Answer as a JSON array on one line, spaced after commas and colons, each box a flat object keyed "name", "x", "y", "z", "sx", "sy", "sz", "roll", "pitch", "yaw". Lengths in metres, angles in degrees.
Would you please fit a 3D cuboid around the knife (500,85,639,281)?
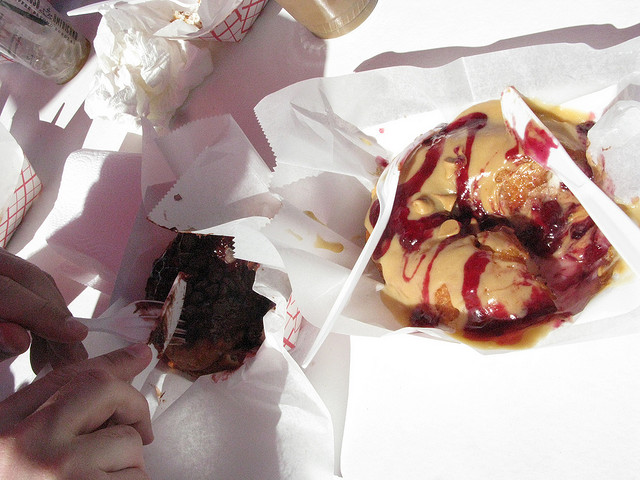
[{"name": "knife", "x": 0.301, "y": -0.059, "z": 0.619, "sx": 0.035, "sy": 0.036, "sz": 0.302, "roll": 14, "pitch": 40, "yaw": -35}]

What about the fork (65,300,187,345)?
[{"name": "fork", "x": -0.300, "y": 0.121, "z": 0.745, "sx": 0.229, "sy": 0.069, "sz": 0.030, "roll": 1, "pitch": -21, "yaw": -11}]

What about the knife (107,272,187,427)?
[{"name": "knife", "x": -0.237, "y": 0.162, "z": 0.716, "sx": 0.024, "sy": 0.224, "sz": 0.025, "roll": 24, "pitch": -6, "yaw": -15}]

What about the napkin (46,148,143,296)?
[{"name": "napkin", "x": -0.357, "y": -0.024, "z": 0.875, "sx": 0.162, "sy": 0.229, "sz": 0.055, "roll": 18, "pitch": 2, "yaw": 4}]

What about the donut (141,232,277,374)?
[{"name": "donut", "x": -0.156, "y": 0.086, "z": 0.791, "sx": 0.180, "sy": 0.209, "sz": 0.062, "roll": 0, "pitch": 0, "yaw": 6}]

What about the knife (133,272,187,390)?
[{"name": "knife", "x": -0.225, "y": 0.137, "z": 0.734, "sx": 0.018, "sy": 0.173, "sz": 0.019, "roll": 20, "pitch": -4, "yaw": 6}]

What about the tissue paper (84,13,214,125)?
[{"name": "tissue paper", "x": -0.298, "y": -0.240, "z": 0.846, "sx": 0.186, "sy": 0.199, "sz": 0.071, "roll": 17, "pitch": 6, "yaw": -12}]

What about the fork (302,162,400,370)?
[{"name": "fork", "x": 0.043, "y": 0.027, "z": 0.703, "sx": 0.042, "sy": 0.308, "sz": 0.050, "roll": 23, "pitch": 9, "yaw": -20}]
